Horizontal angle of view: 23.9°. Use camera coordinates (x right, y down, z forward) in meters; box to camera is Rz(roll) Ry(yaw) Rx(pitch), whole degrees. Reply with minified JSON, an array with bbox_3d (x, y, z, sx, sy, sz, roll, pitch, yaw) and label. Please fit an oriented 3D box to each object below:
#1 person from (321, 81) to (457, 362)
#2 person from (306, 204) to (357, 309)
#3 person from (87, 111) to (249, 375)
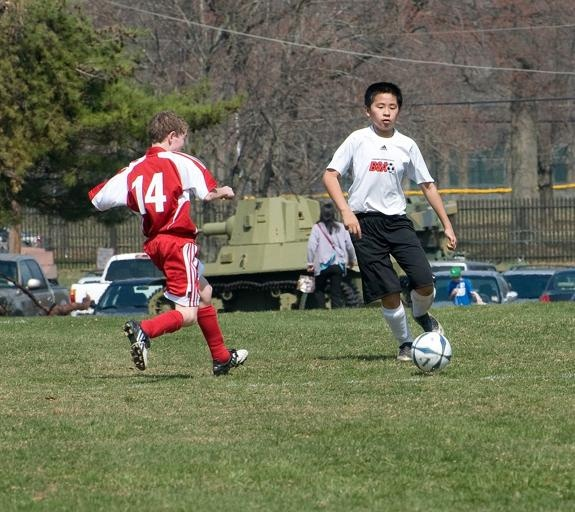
[{"bbox_3d":[1.014,-0.484,13.853,1.210,2.555,0.431,-3,-1,-16],"label":"person"},{"bbox_3d":[0.702,0.137,21.487,0.699,1.817,0.547,0,-6,-2],"label":"person"},{"bbox_3d":[-1.199,-0.210,13.886,1.413,2.744,0.828,0,0,-6],"label":"person"}]
